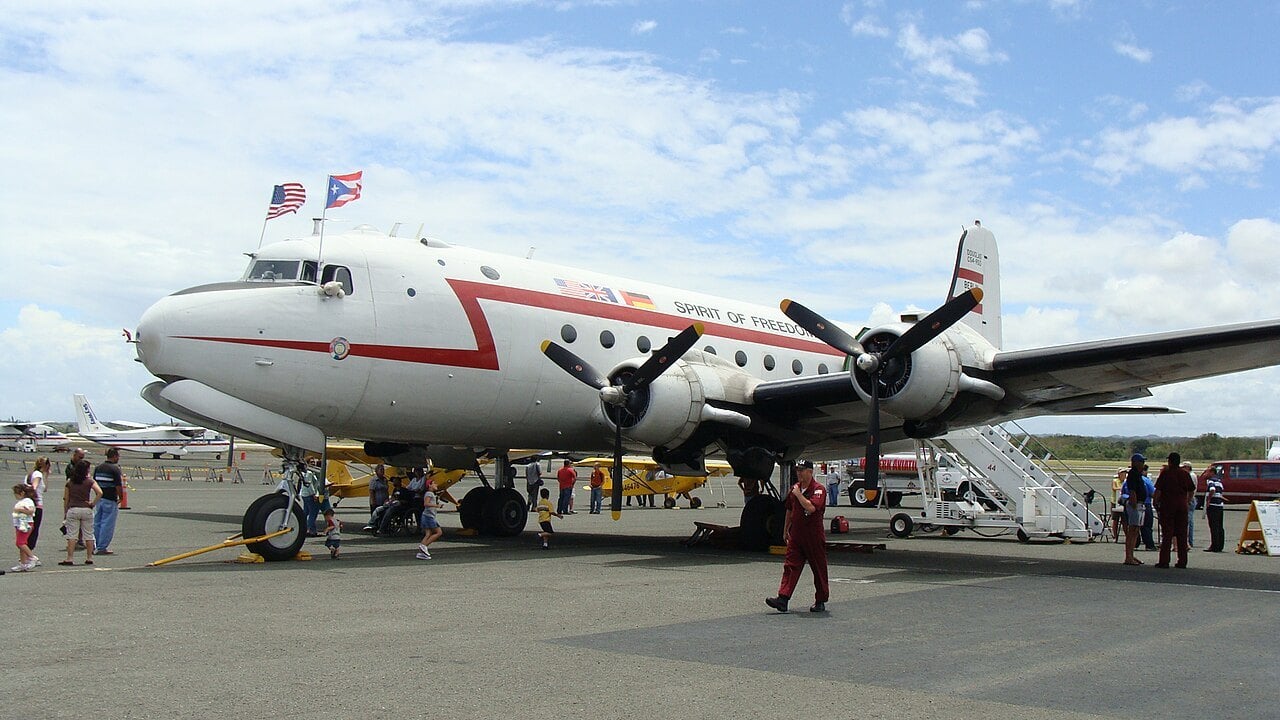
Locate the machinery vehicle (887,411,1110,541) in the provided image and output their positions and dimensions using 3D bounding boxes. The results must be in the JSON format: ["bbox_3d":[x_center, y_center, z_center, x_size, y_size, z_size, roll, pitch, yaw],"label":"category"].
[{"bbox_3d":[9.534,3.141,25.844,5.721,2.753,2.835,-2,-5,44],"label":"machinery vehicle"}]

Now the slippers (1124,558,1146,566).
[{"bbox_3d":[10.434,4.256,20.433,0.336,0.090,0.232,-3,-4,27],"label":"slippers"}]

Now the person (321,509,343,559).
[{"bbox_3d":[-6.259,3.474,19.566,0.342,0.956,0.890,3,-10,-17],"label":"person"}]

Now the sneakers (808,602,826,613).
[{"bbox_3d":[2.764,3.846,15.048,0.126,0.105,0.319,-9,-18,27],"label":"sneakers"}]

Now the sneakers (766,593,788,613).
[{"bbox_3d":[2.127,3.761,15.030,0.313,0.234,0.350,-1,-9,6],"label":"sneakers"}]

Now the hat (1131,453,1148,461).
[{"bbox_3d":[11.238,2.152,21.759,0.359,0.136,0.229,-7,-1,-23],"label":"hat"}]

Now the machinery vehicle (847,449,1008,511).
[{"bbox_3d":[11.202,4.740,38.748,5.672,1.522,1.854,-2,-3,18],"label":"machinery vehicle"}]
